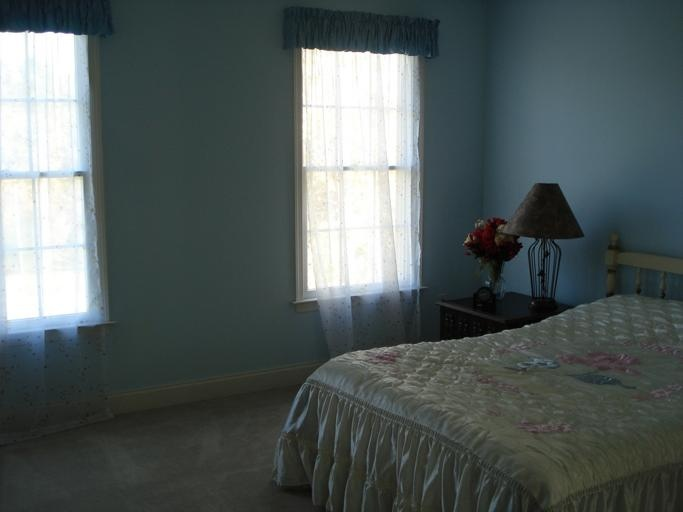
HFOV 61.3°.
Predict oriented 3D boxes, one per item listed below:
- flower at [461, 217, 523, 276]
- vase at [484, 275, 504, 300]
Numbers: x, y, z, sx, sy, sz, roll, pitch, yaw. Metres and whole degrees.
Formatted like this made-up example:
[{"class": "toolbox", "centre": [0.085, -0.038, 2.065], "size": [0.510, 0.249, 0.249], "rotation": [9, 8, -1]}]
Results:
[{"class": "flower", "centre": [1.069, -0.122, 4.242], "size": [0.396, 0.453, 0.378], "rotation": [-7, 10, -41]}, {"class": "vase", "centre": [1.158, 0.220, 4.358], "size": [0.132, 0.262, 0.172], "rotation": [-3, 0, -2]}]
